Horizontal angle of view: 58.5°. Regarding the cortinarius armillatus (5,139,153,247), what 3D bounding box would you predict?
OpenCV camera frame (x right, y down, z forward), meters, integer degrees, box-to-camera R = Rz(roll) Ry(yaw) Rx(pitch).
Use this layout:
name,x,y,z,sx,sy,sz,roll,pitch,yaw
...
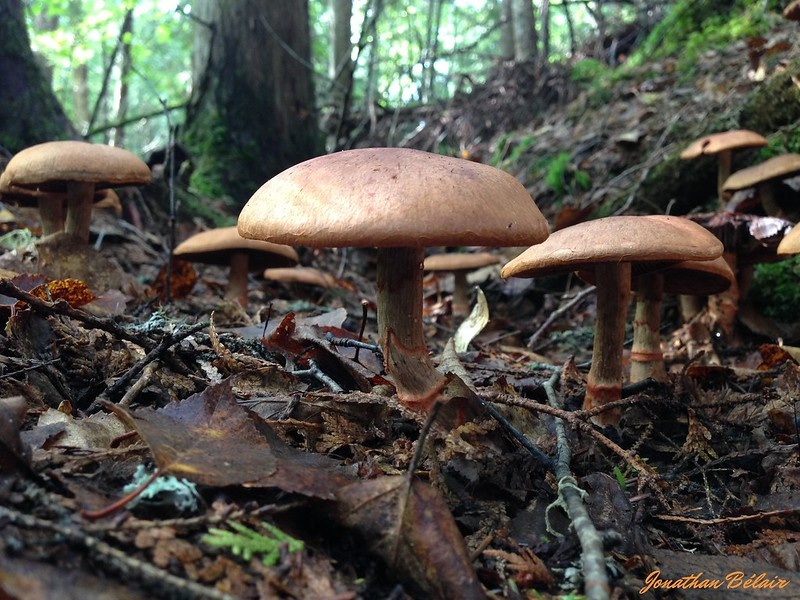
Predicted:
name,x,y,z,sx,sy,sz,roll,pitch,yaw
cortinarius armillatus,-2.233,-0.835,5.011,0.811,0.701,0.822,12,16,39

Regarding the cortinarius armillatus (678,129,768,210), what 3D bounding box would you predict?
name,x,y,z,sx,sy,sz,roll,pitch,yaw
cortinarius armillatus,3.169,-1.256,6.972,0.788,0.737,0.736,-23,22,-40
